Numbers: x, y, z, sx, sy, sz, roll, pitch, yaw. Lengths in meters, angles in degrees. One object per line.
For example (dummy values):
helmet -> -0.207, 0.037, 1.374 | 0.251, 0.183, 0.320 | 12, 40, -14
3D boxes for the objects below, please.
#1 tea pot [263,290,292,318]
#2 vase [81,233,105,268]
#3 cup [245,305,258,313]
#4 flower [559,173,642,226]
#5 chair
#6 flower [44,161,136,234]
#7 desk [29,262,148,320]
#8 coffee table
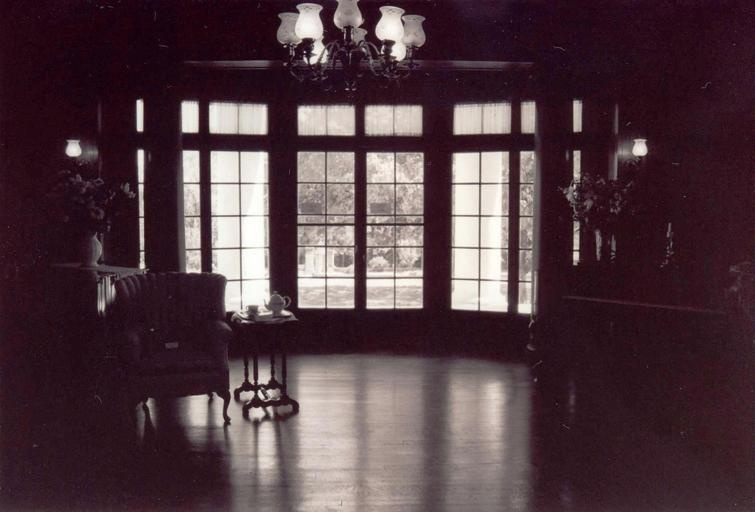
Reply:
tea pot -> -1.007, 0.482, 7.980 | 0.300, 0.246, 0.265 | 2, -91, 4
vase -> -2.859, -0.055, 7.932 | 0.263, 0.278, 0.402 | -3, -85, -36
cup -> -1.251, 0.525, 7.879 | 0.082, 0.073, 0.062 | -2, -90, 4
flower -> 2.372, -0.567, 8.283 | 0.597, 0.478, 0.534 | -14, -68, 2
chair -> -2.003, 0.756, 7.668 | 1.204, 1.089, 0.849 | 5, -68, -6
flower -> -2.948, -0.599, 8.183 | 0.702, 0.737, 0.540 | 0, -82, 4
desk -> -2.873, 0.330, 7.558 | 0.838, 0.587, 0.503 | 4, -86, -12
coffee table -> -1.198, 1.197, 8.252 | 0.811, 1.218, 1.183 | 2, -95, -12
